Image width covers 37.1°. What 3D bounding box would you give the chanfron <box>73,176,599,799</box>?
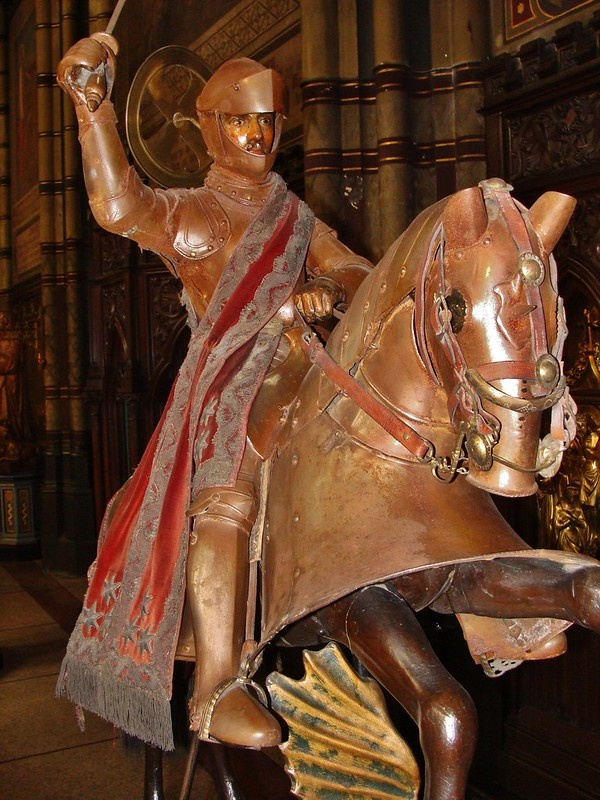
[{"bbox_3d":[0.209,0.087,1.611,0.479,1.138,0.818,19,-19,-30],"label":"chanfron"}]
